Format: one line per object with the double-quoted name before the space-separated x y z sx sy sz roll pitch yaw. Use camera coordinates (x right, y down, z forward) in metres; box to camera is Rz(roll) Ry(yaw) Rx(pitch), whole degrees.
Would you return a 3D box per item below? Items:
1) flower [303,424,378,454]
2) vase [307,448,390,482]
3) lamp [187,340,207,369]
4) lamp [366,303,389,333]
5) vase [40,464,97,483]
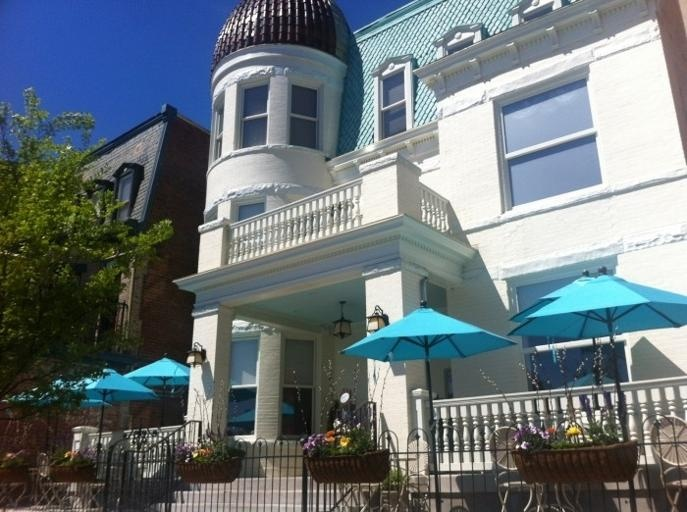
"flower" -0.055 3.175 9.779 0.690 0.310 0.703 -22 -25 40
"vase" 0.069 3.538 9.572 1.056 0.399 0.627 -18 -37 22
"lamp" -3.899 2.556 15.213 0.560 0.716 0.340 -12 -25 25
"lamp" 0.733 1.338 12.337 0.328 0.709 0.361 -19 -42 35
"vase" -7.193 5.794 15.375 1.415 0.463 0.301 -11 -25 21
